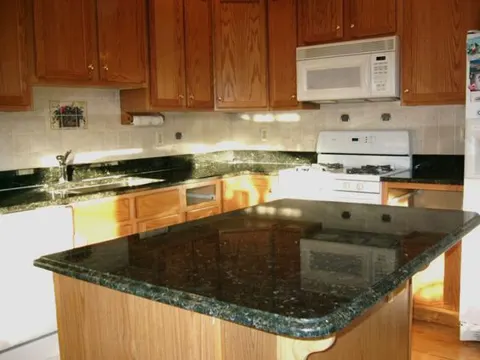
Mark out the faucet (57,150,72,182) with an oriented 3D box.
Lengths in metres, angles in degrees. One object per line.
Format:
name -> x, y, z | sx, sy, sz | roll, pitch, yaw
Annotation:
faucet -> -1.373, -0.107, 3.221 | 0.136, 0.248, 0.219 | -9, 11, -20

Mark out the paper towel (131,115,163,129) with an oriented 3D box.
paper towel -> -0.814, -0.532, 3.632 | 0.084, 0.082, 0.328 | 3, 11, 34

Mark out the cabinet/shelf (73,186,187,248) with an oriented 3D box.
cabinet/shelf -> -0.786, 0.329, 3.105 | 0.805, 0.181, 0.392 | -13, 36, -9
